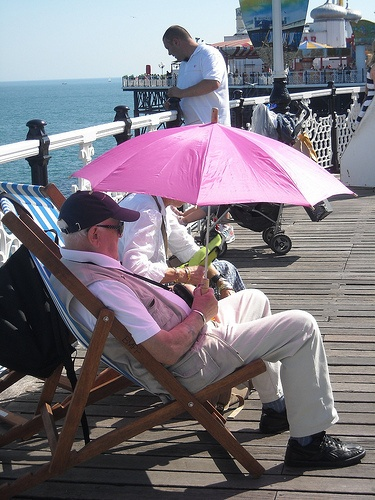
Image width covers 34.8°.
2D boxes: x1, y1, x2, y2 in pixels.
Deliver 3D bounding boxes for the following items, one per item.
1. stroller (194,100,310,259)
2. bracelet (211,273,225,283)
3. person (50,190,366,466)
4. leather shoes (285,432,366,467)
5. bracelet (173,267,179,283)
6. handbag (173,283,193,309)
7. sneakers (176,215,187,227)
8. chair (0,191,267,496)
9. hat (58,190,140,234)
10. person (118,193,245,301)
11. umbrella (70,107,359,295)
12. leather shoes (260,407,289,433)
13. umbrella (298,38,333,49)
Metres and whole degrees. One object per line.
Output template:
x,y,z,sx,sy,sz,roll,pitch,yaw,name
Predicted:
0.629,-0.785,6.411,1.475,1.507,0.889,1,13,4,stroller
0.169,0.155,3.307,0.048,0.027,0.060,-15,-14,18,bracelet
0.064,0.320,2.482,1.391,0.982,0.632,1,8,-25,person
0.538,0.813,2.455,0.365,0.132,0.128,-1,-1,-5,leather shoes
-0.061,0.128,3.121,0.023,0.056,0.046,4,7,-18,bracelet
-0.015,0.184,2.451,0.034,0.091,0.078,-45,11,-13,handbag
-0.047,-0.234,4.881,0.049,0.052,0.142,-8,-25,3,sneakers
-0.334,0.343,2.462,0.999,1.142,0.886,-7,15,-18,chair
-0.333,-0.165,2.229,0.311,0.134,0.185,-12,20,-20,hat
-0.031,-0.017,3.232,0.647,0.345,0.772,-12,-34,1,person
0.098,-0.242,2.722,1.194,0.622,1.058,-7,18,-40,umbrella
0.393,0.772,2.742,0.161,0.082,0.083,-4,6,-36,leather shoes
14.551,-23.903,69.976,2.498,1.190,4.601,4,14,26,umbrella
